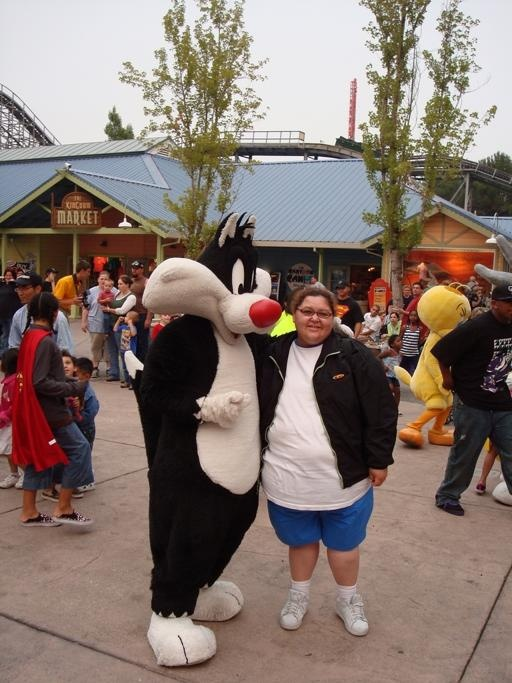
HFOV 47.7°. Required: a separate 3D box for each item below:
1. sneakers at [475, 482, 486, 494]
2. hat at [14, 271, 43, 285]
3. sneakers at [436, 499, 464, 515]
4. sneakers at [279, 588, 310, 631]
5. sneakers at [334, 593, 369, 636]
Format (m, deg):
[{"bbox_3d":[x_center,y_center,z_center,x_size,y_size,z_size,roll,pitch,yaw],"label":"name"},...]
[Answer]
[{"bbox_3d":[1.891,1.258,4.882,0.051,0.049,0.125,6,42,10],"label":"sneakers"},{"bbox_3d":[-1.983,-0.539,5.012,0.142,0.094,0.188,3,-1,4],"label":"hat"},{"bbox_3d":[1.454,1.257,4.369,0.186,0.070,0.080,-1,-1,42],"label":"sneakers"},{"bbox_3d":[0.178,1.232,2.644,0.082,0.090,0.228,3,-8,14],"label":"sneakers"},{"bbox_3d":[0.430,1.248,2.616,0.082,0.097,0.230,-5,-8,-15],"label":"sneakers"}]
